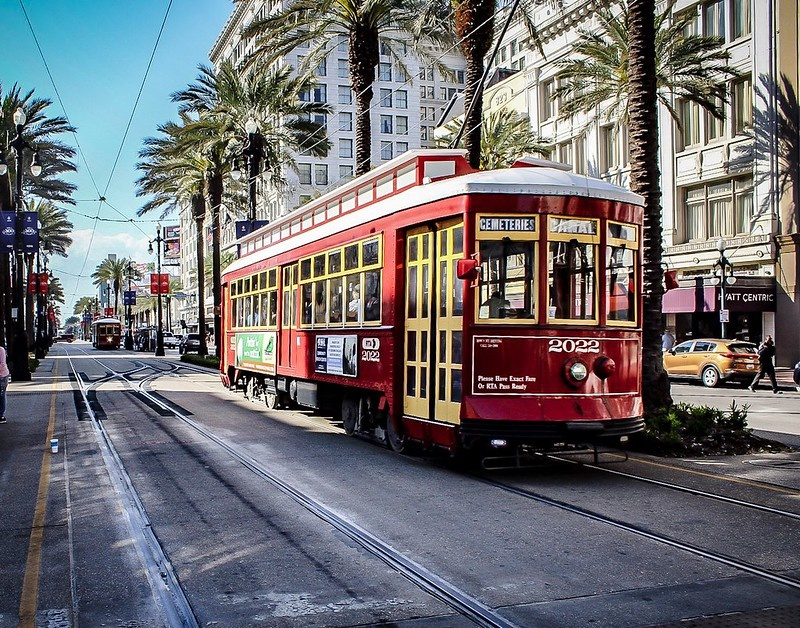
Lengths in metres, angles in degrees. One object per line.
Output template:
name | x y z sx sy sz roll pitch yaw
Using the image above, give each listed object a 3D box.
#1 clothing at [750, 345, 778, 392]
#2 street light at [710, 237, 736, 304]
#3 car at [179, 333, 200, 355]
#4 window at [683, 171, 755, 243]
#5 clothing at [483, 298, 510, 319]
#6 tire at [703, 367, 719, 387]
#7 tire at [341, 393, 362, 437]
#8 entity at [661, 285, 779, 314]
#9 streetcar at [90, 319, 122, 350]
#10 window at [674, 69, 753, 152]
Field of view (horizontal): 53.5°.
clothing | 11.621 1.730 25.307 0.628 1.687 1.015 -4 0 -3
street light | 13.880 -1.632 34.014 0.830 3.121 3.183 -2 -3 22
car | -16.163 2.392 61.730 1.336 1.359 3.137 -1 3 -21
window | 14.906 -4.969 36.743 0.290 2.698 3.565 4 -5 -26
clothing | 1.282 -0.074 10.549 0.400 0.270 0.083 1 -3 -19
tire | 10.948 2.199 27.835 0.409 0.736 0.835 -1 -3 2
tire | -0.828 1.815 14.261 0.131 0.801 0.725 3 -5 -21
entity | 14.072 -0.674 35.568 2.503 1.310 4.466 2 -5 -38
streetcar | -29.609 2.103 81.581 2.825 3.256 2.096 -3 -4 42
window | 13.734 -8.809 34.320 0.329 2.764 4.282 2 -4 -26
